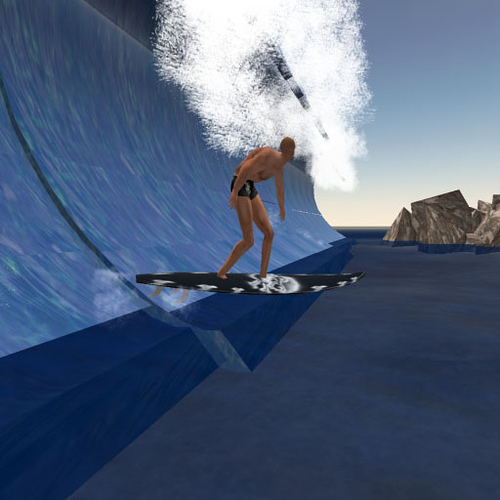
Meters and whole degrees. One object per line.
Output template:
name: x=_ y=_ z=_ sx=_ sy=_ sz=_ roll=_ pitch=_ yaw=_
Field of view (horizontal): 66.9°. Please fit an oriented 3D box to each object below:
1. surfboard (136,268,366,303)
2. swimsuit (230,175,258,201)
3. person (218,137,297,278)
surfboard: x=-0.005 y=0.355 z=4.133 sx=2.367 sy=0.321 sz=1.164 roll=0 pitch=1 yaw=-14
swimsuit: x=-0.062 y=-0.689 z=4.347 sx=0.262 sy=0.264 sz=0.426 roll=-1 pitch=6 yaw=23
person: x=0.069 y=-0.473 z=4.334 sx=0.871 sy=1.533 sz=0.543 roll=0 pitch=0 yaw=-20
